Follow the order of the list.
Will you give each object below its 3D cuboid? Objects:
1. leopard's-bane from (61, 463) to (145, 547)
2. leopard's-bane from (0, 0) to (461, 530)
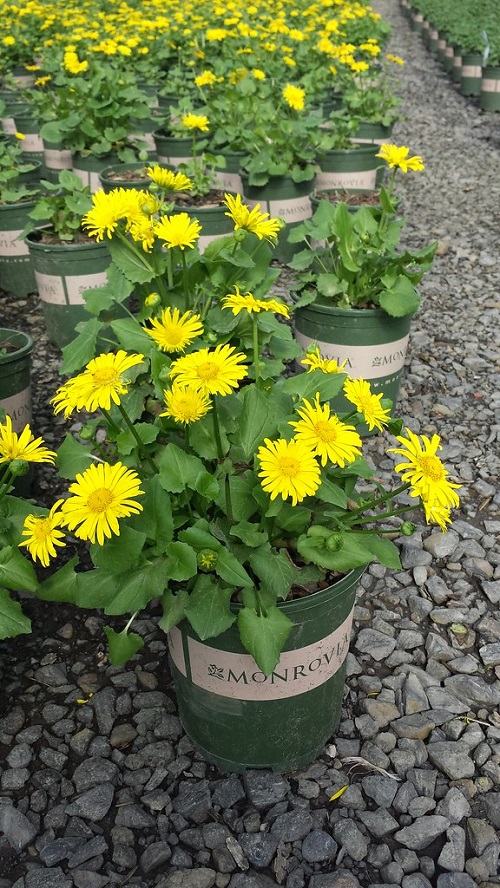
[{"bbox_3d":[-0.202,0.076,0.922,0.101,0.027,0.111,27,7,34],"label":"leopard's-bane"},{"bbox_3d":[0.101,-0.943,2.511,1.016,1.092,1.127,1,39,3],"label":"leopard's-bane"}]
